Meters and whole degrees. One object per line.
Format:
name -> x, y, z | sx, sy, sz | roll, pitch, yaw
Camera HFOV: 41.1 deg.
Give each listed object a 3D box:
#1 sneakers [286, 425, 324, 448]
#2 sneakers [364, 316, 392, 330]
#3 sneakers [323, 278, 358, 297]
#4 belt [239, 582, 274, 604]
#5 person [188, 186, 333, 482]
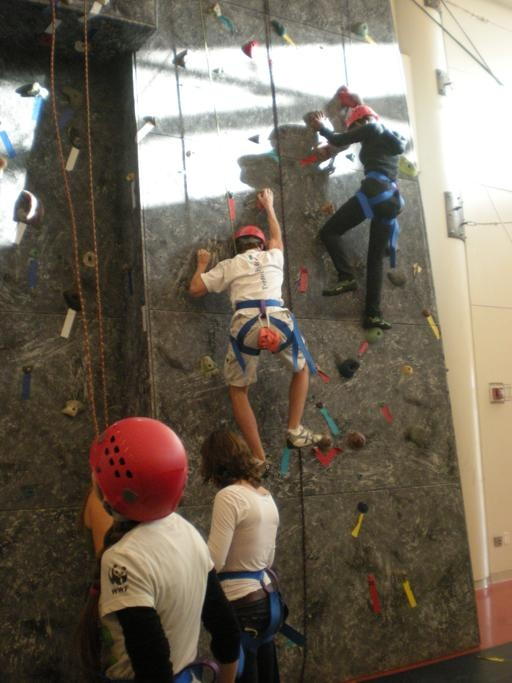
sneakers -> 0.239, 0.489, 3.521 | 0.239, 0.114, 0.083 | 2, 50, -35
sneakers -> 0.712, -0.104, 4.026 | 0.196, 0.091, 0.062 | -2, 45, -8
sneakers -> 0.501, -0.311, 4.027 | 0.242, 0.082, 0.100 | -12, 51, -28
belt -> 0.007, 0.851, 2.317 | 0.071, 0.033, 0.095 | 19, -22, -31
person -> 0.005, -0.085, 3.507 | 0.623, 1.376, 0.594 | 1, 4, 18
